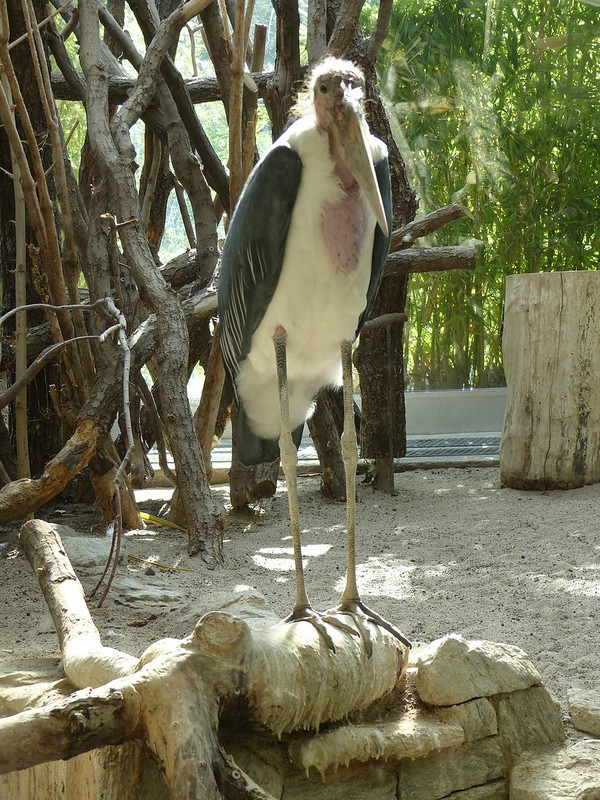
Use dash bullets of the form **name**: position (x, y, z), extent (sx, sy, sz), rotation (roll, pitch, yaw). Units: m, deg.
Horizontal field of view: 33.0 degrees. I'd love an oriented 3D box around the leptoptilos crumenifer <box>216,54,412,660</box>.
- **leptoptilos crumenifer**: position (0.032, -0.338, 2.791), extent (0.425, 1.121, 0.895), rotation (-3, 9, -14)
